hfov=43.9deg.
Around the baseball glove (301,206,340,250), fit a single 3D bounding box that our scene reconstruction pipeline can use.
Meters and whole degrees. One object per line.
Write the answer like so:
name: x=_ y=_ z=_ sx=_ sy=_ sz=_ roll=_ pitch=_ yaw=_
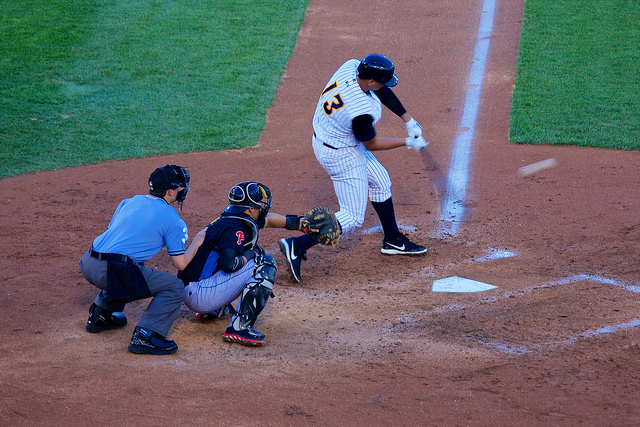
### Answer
baseball glove: x=0.005 y=0.174 z=10.374 sx=0.479 sy=0.461 sz=0.377 roll=0 pitch=48 yaw=5
